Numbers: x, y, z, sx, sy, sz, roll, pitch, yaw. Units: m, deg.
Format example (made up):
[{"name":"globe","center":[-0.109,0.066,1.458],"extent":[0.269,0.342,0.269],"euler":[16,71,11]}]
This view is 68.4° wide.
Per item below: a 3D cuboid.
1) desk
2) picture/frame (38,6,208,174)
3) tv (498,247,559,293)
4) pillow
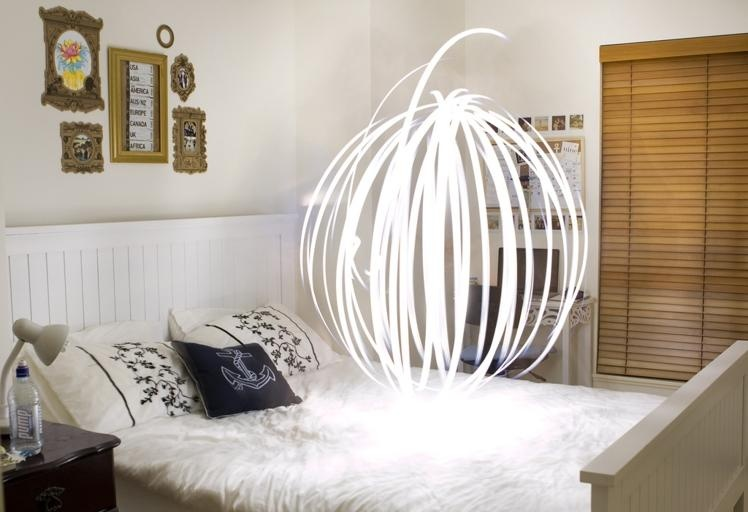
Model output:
[{"name":"desk","center":[1.546,0.721,4.352],"extent":[0.421,0.619,0.419],"euler":[-8,-10,31]},{"name":"picture/frame","center":[-1.447,-0.933,3.209],"extent":[0.051,0.887,0.938],"euler":[5,10,38]},{"name":"tv","center":[1.049,0.092,3.622],"extent":[0.340,0.279,0.047],"euler":[0,-3,34]},{"name":"pillow","center":[-1.041,0.595,2.956],"extent":[0.969,0.279,0.614],"euler":[3,24,-41]}]
